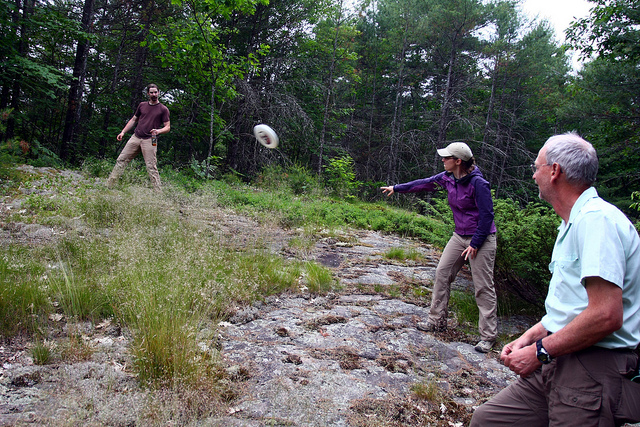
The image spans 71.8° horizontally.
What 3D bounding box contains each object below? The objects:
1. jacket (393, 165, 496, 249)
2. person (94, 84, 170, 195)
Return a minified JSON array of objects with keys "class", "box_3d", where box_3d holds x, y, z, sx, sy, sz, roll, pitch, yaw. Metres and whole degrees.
[{"class":"jacket","box_3d":[2.246,-0.060,7.865,1.451,1.876,1.237,-15,7,-15]},{"class":"person","box_3d":[-4.500,-1.861,11.195,1.338,2.201,0.916,5,1,-4]}]
